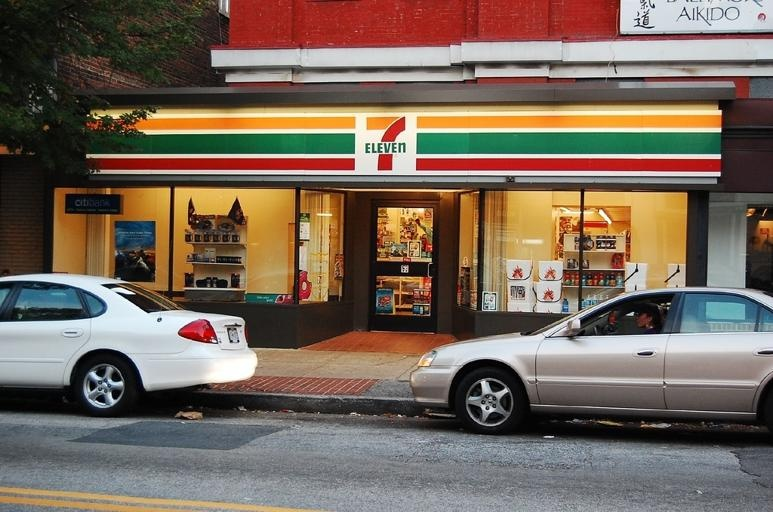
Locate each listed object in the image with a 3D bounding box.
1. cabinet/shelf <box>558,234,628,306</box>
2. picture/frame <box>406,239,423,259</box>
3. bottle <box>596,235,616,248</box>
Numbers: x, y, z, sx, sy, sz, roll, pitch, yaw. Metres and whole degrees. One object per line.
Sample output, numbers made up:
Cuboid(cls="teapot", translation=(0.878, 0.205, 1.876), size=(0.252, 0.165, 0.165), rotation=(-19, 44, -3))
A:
Cuboid(cls="cabinet/shelf", translation=(4.400, 0.161, 16.975), size=(1.328, 1.476, 0.417), rotation=(-4, 26, 13))
Cuboid(cls="picture/frame", translation=(0.692, -0.169, 19.969), size=(0.570, 0.641, 0.070), rotation=(1, -3, 10))
Cuboid(cls="bottle", translation=(4.633, -0.292, 16.992), size=(0.455, 0.260, 0.278), rotation=(0, -5, 5))
